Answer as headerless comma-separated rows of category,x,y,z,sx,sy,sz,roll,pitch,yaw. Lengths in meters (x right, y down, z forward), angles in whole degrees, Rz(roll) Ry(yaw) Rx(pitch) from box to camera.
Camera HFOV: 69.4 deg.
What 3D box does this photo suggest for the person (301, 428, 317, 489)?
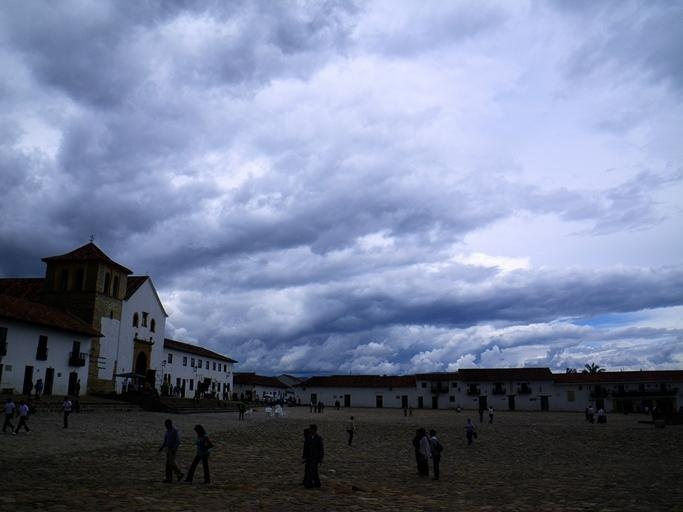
person,-1.019,6.368,15.636,0.430,1.799,0.907,-2,-16,-6
